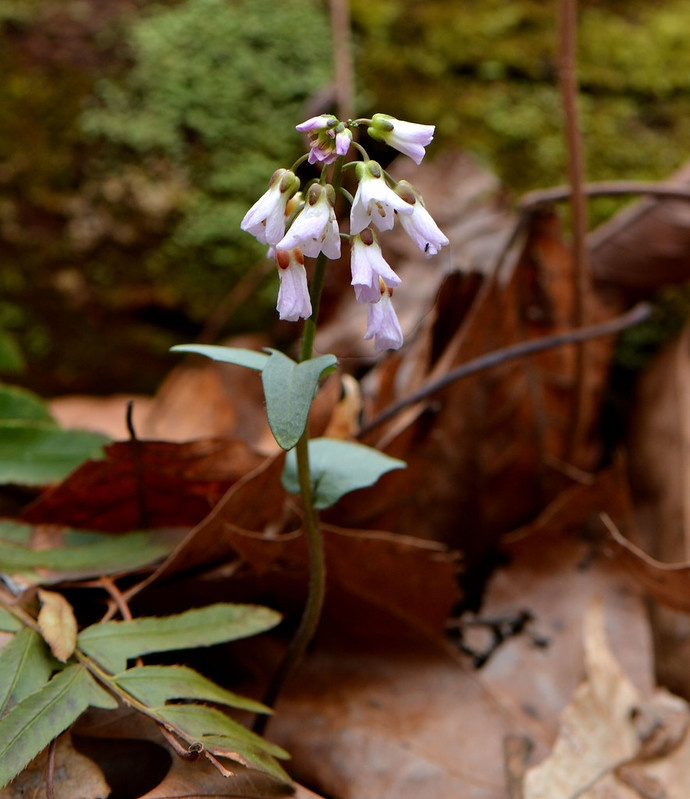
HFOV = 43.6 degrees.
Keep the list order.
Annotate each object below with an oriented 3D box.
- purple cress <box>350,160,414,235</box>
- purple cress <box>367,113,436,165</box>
[{"bbox_3d":[0.043,-0.266,1.070,0.054,0.080,0.038,-10,36,39],"label":"purple cress"},{"bbox_3d":[0.073,-0.337,1.135,0.099,0.038,0.056,21,56,2],"label":"purple cress"}]
